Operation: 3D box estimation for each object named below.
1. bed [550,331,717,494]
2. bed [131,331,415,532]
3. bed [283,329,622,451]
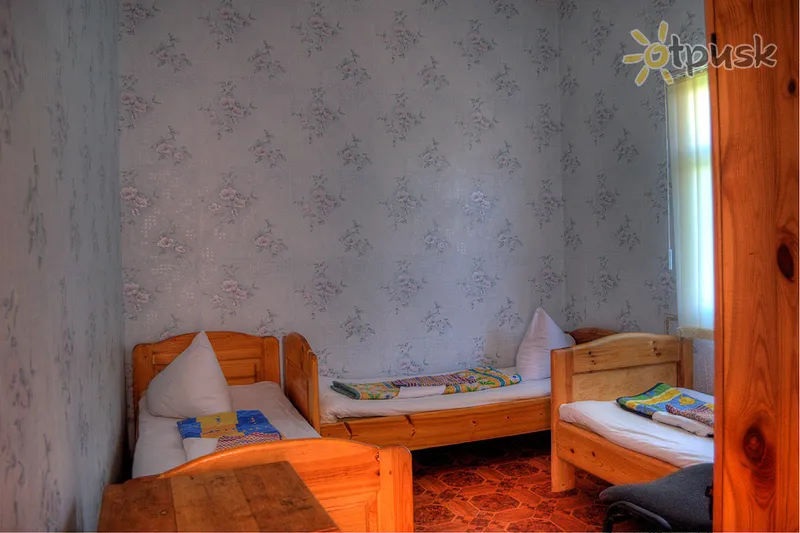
[{"bbox_3d":[1.510,0.908,3.592,0.864,0.702,1.093,-2,1,-25],"label":"bed"},{"bbox_3d":[-0.700,0.818,3.036,0.929,1.046,1.658,-1,1,-22],"label":"bed"},{"bbox_3d":[0.235,0.706,4.266,1.938,0.741,0.975,0,1,-18],"label":"bed"}]
